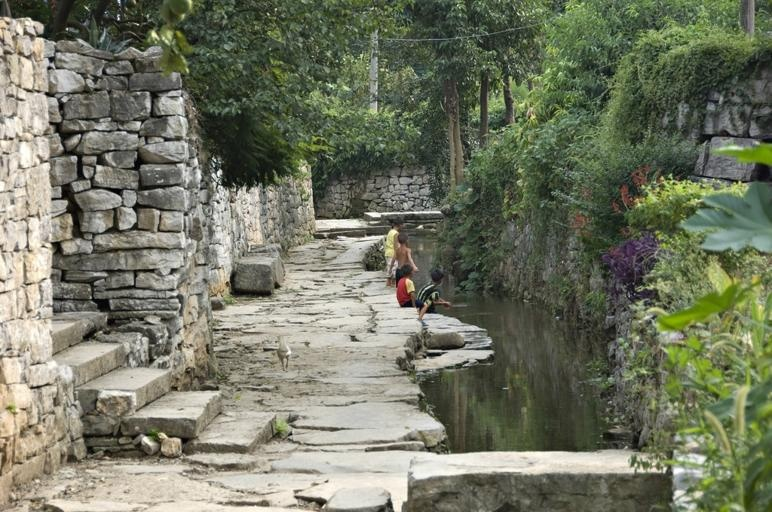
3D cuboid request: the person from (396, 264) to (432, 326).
[{"bbox_3d":[0.405,0.600,19.256,0.482,0.919,0.630,-13,19,-30],"label":"person"}]
